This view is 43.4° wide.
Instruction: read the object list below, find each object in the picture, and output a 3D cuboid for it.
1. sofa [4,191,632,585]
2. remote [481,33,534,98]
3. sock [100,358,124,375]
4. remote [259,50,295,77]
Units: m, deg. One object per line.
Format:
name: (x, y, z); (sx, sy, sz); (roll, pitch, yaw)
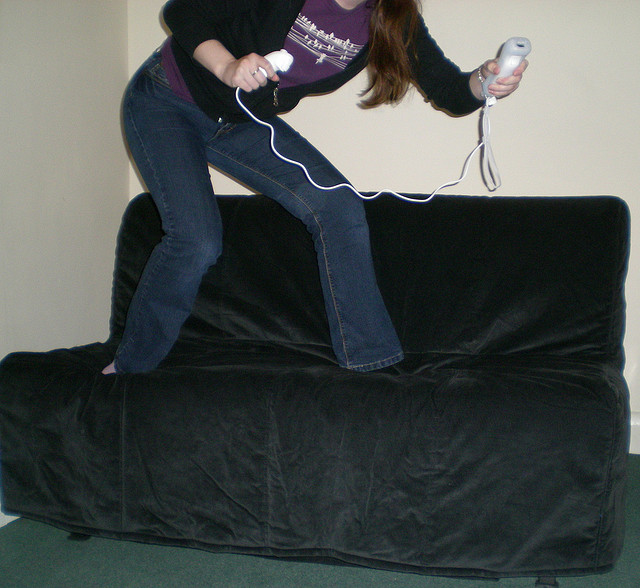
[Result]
sofa: (0.045, 0.163, 2.001); (1.352, 0.807, 0.815); (3, 9, 18)
remote: (0.433, -0.533, 1.885); (0.112, 0.136, 0.088); (2, 9, 15)
sock: (-0.490, 0.164, 1.903); (0.041, 0.015, 0.042); (-2, 10, 1)
remote: (-0.092, -0.507, 1.765); (0.067, 0.053, 0.028); (-2, -11, -15)
